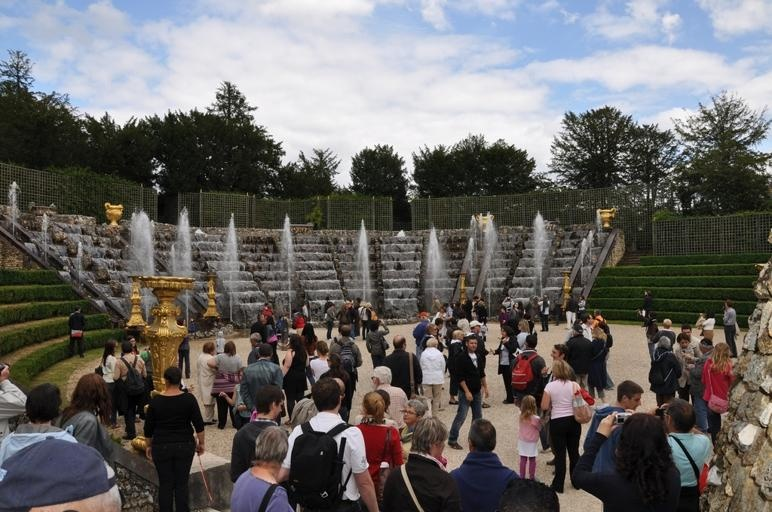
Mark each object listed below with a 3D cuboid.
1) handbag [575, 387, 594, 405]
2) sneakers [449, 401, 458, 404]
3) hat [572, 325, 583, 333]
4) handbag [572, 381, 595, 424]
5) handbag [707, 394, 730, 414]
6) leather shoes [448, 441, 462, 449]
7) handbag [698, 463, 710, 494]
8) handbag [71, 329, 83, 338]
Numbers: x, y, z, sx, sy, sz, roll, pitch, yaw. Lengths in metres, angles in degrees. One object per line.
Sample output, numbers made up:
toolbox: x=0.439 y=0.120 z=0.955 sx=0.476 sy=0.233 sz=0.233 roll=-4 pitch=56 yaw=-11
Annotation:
handbag: x=3.790 y=2.693 z=13.771 sx=0.162 sy=0.450 sz=0.352 roll=-42 pitch=-4 yaw=3
sneakers: x=1.621 y=3.564 z=17.642 sx=0.223 sy=0.071 sz=0.079 roll=-3 pitch=1 yaw=0
hat: x=4.475 y=1.748 z=16.992 sx=0.165 sy=0.211 sz=0.208 roll=13 pitch=33 yaw=6
handbag: x=3.727 y=2.819 z=13.744 sx=0.348 sy=0.844 sz=0.679 roll=2 pitch=3 yaw=17
handbag: x=6.506 y=2.944 z=14.262 sx=0.321 sy=0.401 sz=0.314 roll=3 pitch=3 yaw=23
leather shoes: x=1.436 y=3.954 z=15.168 sx=0.259 sy=0.104 sz=0.144 roll=-1 pitch=1 yaw=33
handbag: x=5.206 y=3.711 z=11.872 sx=0.119 sy=0.505 sz=0.658 roll=3 pitch=3 yaw=26
handbag: x=-8.932 y=2.258 z=20.920 sx=0.226 sy=0.229 sz=0.084 roll=6 pitch=1 yaw=-14
